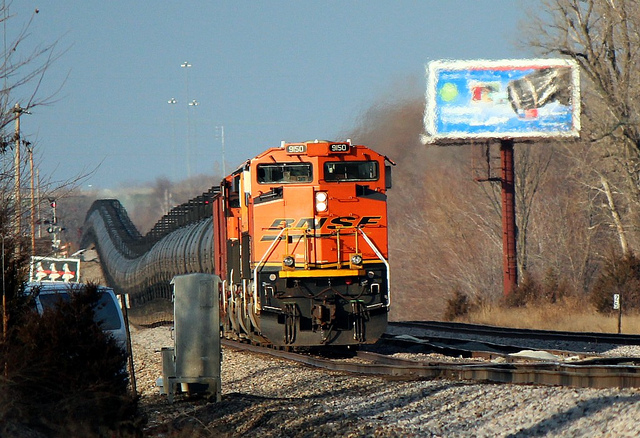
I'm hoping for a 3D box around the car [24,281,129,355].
[{"bbox_3d":[-7.382,2.844,41.947,3.262,2.509,5.517,0,-7,-2],"label":"car"}]

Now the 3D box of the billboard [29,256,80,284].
[{"bbox_3d":[-10.893,2.104,53.352,2.096,1.021,0.092,4,-11,-26],"label":"billboard"}]
